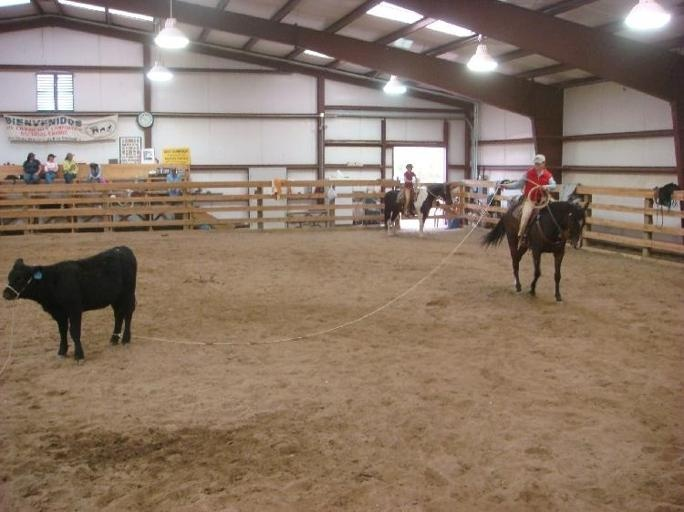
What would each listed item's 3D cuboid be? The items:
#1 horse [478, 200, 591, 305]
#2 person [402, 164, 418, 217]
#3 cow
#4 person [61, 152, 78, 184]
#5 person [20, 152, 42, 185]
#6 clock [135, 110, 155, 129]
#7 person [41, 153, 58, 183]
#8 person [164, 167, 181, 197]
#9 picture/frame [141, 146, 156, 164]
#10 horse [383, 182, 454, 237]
[{"bbox_3d":[3.318,-0.164,10.085,0.617,1.643,2.568,-3,9,-19],"label":"horse"},{"bbox_3d":[2.049,-1.992,17.343,0.367,1.551,0.665,2,13,7],"label":"person"},{"bbox_3d":[-3.196,0.598,6.939,1.466,1.312,0.486,-13,18,-42],"label":"cow"},{"bbox_3d":[-9.119,-2.943,19.100,0.443,0.874,1.028,-6,15,-24],"label":"person"},{"bbox_3d":[-10.235,-2.889,18.812,0.536,0.908,0.601,-7,15,-26],"label":"person"},{"bbox_3d":[-7.434,-5.090,21.497,0.633,0.581,0.292,-6,14,-22],"label":"clock"},{"bbox_3d":[-9.758,-2.922,19.072,0.480,0.871,0.911,-7,15,-27],"label":"person"},{"bbox_3d":[-5.700,-2.518,19.241,0.472,0.717,2.186,-4,15,-15],"label":"person"},{"bbox_3d":[-7.305,-3.777,21.466,0.518,0.494,0.520,-5,15,-20],"label":"picture/frame"},{"bbox_3d":[2.217,-1.383,17.298,2.276,1.603,0.620,1,-2,28],"label":"horse"}]
